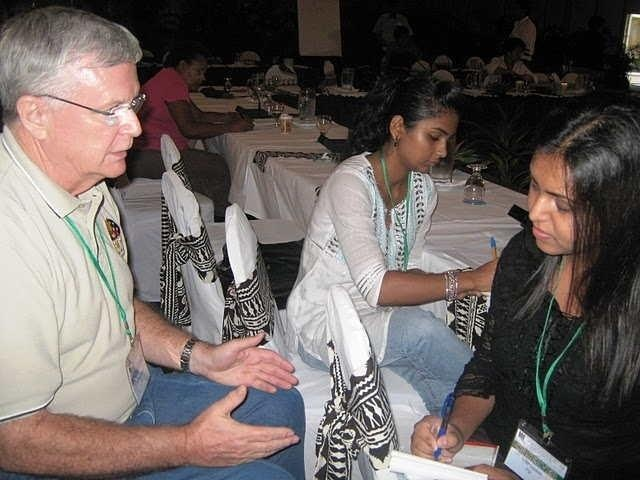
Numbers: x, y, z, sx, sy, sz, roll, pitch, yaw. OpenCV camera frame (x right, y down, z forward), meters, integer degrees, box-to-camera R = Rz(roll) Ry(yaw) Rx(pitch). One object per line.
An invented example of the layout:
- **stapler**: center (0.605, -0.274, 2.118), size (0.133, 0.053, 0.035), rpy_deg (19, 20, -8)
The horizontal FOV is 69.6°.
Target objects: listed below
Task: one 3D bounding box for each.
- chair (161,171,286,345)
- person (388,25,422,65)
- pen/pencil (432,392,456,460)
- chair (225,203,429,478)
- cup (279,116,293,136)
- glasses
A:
- **chair**: center (-0.456, 0.096, 2.238), size (0.496, 0.837, 0.569), rpy_deg (-14, 45, -17)
- **person**: center (1.447, -3.404, 8.022), size (0.534, 0.723, 0.702), rpy_deg (6, 17, 13)
- **pen/pencil**: center (0.362, 0.548, 1.339), size (0.027, 0.160, 0.024), rpy_deg (38, -29, -26)
- **chair**: center (0.034, 0.350, 1.567), size (0.653, 0.803, 0.610), rpy_deg (-7, 33, -9)
- **cup**: center (-0.280, -0.957, 3.777), size (0.147, 0.143, 0.117), rpy_deg (8, 16, 23)
- **glasses**: center (-0.606, -0.346, 1.240), size (0.142, 0.038, 0.135), rpy_deg (23, 13, 1)
